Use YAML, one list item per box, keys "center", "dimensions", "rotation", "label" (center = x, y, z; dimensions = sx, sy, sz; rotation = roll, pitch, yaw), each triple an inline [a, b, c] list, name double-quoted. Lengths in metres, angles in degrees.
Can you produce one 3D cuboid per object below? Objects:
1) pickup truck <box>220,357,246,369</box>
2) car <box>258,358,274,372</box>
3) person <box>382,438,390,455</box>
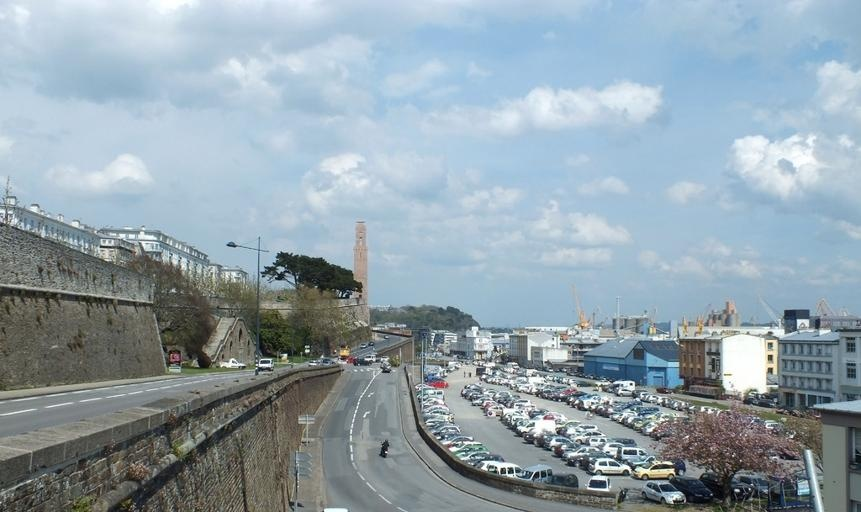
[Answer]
- center: [-28.223, 15.231, 106.643]
  dimensions: [2.607, 1.031, 1.464]
  rotation: [-1, 0, -1]
  label: "pickup truck"
- center: [-21.489, 14.324, 98.016]
  dimensions: [2.233, 1.761, 3.614]
  rotation: [-1, -12, 0]
  label: "car"
- center: [-4.743, 19.535, 76.698]
  dimensions: [0.848, 1.507, 2.155]
  rotation: [1, -6, -3]
  label: "person"
